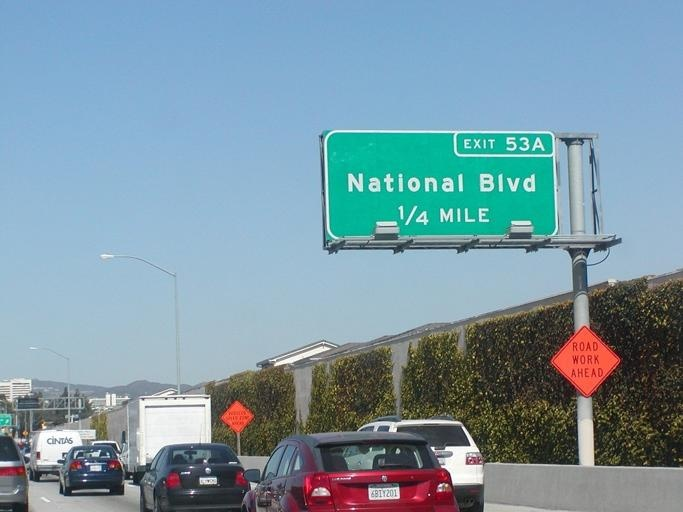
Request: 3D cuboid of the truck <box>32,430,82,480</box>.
[{"bbox_3d":[-12.823,8.751,67.427,1.492,1.948,3.483,1,-5,-13],"label":"truck"}]
